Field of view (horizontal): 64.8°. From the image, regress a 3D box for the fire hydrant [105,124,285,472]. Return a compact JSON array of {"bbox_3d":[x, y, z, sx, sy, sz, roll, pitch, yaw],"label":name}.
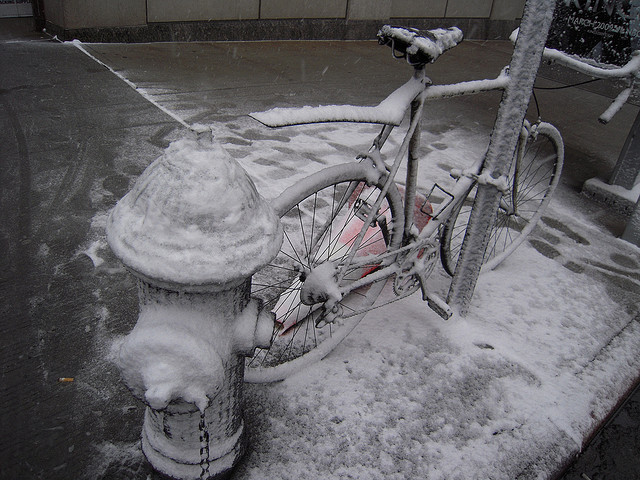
[{"bbox_3d":[-0.576,0.377,2.432,0.781,1.721,0.599,-10,33,-24],"label":"fire hydrant"}]
